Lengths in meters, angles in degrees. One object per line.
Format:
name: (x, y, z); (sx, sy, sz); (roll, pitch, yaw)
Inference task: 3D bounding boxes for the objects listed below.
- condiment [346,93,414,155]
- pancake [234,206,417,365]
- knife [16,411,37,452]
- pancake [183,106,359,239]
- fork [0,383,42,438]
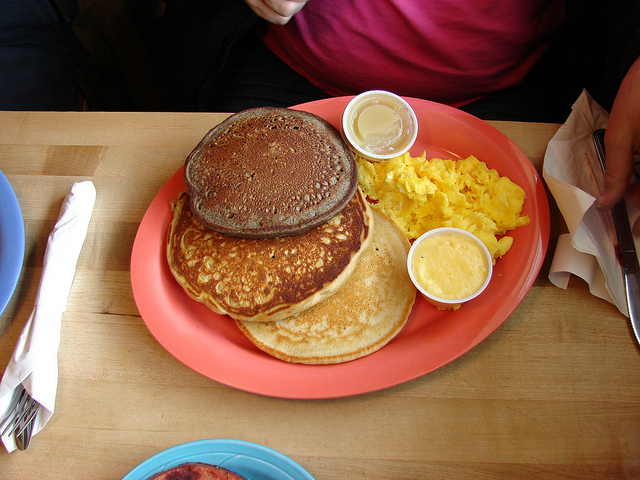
condiment: (0.194, -0.447, 1.896); (0.277, 0.208, 0.271); (-2, 26, -2)
pancake: (0.087, 0.209, 1.734); (0.433, 0.063, 0.485); (-14, 64, -1)
knife: (-0.921, 0.595, 1.579); (0.031, 0.019, 0.135); (27, 65, -27)
pancake: (-0.170, -0.236, 1.704); (0.591, 0.135, 0.477); (-1, 65, 3)
fork: (-0.945, 0.527, 1.603); (0.062, 0.011, 0.214); (29, 81, 0)
